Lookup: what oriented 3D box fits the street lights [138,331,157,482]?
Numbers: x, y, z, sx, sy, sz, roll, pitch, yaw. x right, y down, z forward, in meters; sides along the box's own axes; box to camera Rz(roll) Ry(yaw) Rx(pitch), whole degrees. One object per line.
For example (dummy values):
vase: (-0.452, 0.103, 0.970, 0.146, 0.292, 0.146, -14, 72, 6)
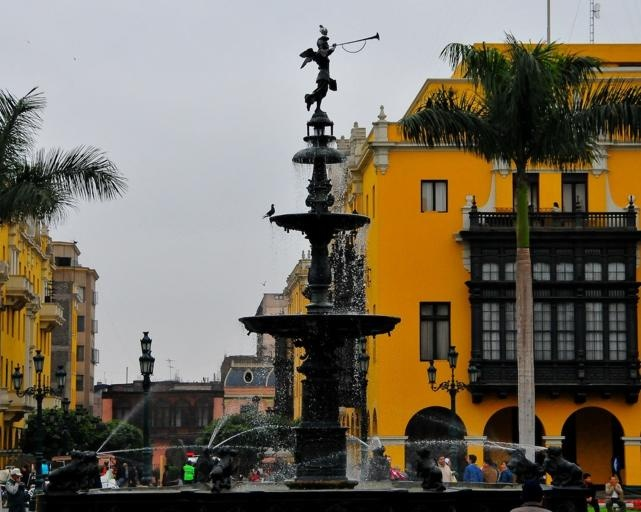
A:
street lights: (-6.774, 5.695, 84.341, 0.958, 5.605, 0.785, -2, -4, 37)
